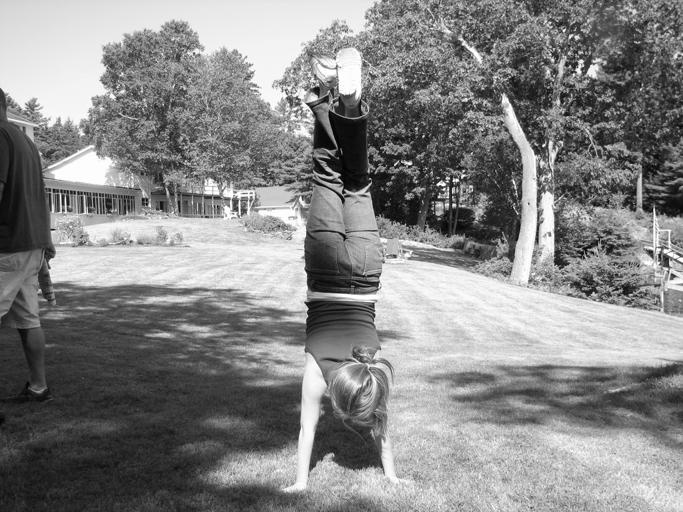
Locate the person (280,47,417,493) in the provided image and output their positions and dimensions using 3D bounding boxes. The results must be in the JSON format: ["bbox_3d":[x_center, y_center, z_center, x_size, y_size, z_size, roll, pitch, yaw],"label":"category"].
[{"bbox_3d":[0.012,0.059,3.612,0.899,3.139,0.811,-1,6,-10],"label":"person"}]

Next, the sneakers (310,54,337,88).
[{"bbox_3d":[-0.111,-1.267,3.241,0.206,0.172,0.101,2,-31,-20],"label":"sneakers"}]
